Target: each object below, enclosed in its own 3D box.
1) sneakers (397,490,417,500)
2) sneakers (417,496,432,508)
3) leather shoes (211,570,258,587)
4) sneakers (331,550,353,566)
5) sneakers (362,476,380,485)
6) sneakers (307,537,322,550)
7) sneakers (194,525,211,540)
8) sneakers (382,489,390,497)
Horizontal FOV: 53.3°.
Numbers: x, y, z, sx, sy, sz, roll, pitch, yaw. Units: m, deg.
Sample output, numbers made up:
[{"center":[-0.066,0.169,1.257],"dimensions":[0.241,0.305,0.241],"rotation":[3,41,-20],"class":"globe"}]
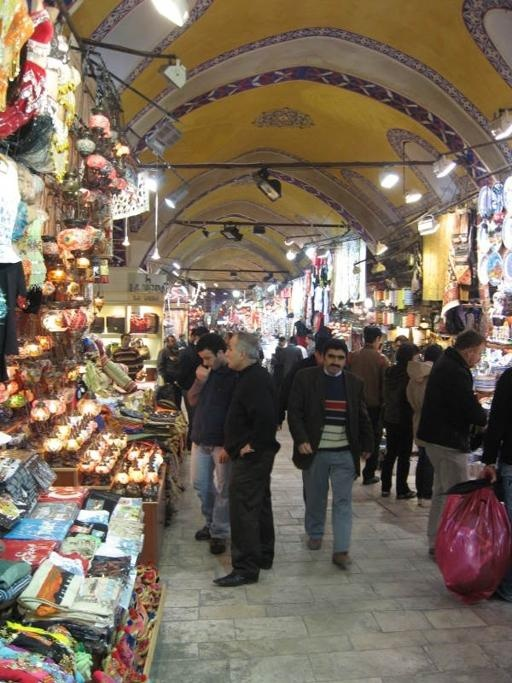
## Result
[{"center":[1.495,1.523,5.076],"dimensions":[0.217,0.078,0.079],"rotation":[-2,7,-34],"class":"sneakers"},{"center":[1.588,1.517,4.829],"dimensions":[0.079,0.084,0.209],"rotation":[-1,-8,4],"class":"sneakers"},{"center":[-0.129,1.446,3.148],"dimensions":[0.264,0.099,0.093],"rotation":[4,-4,-11],"class":"leather shoes"},{"center":[0.570,1.463,3.439],"dimensions":[0.125,0.094,0.131],"rotation":[1,-1,14],"class":"sneakers"},{"center":[1.265,1.509,5.606],"dimensions":[0.199,0.078,0.082],"rotation":[-11,13,-29],"class":"sneakers"},{"center":[0.431,1.498,3.799],"dimensions":[0.057,0.048,0.119],"rotation":[2,6,1],"class":"sneakers"},{"center":[-0.414,1.480,3.923],"dimensions":[0.139,0.053,0.062],"rotation":[8,-8,-38],"class":"sneakers"},{"center":[1.305,1.511,5.102],"dimensions":[0.042,0.050,0.119],"rotation":[2,5,6],"class":"sneakers"}]
